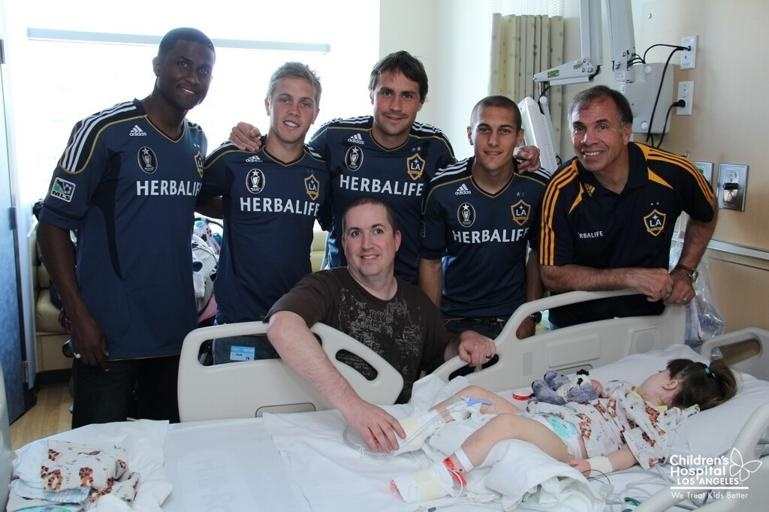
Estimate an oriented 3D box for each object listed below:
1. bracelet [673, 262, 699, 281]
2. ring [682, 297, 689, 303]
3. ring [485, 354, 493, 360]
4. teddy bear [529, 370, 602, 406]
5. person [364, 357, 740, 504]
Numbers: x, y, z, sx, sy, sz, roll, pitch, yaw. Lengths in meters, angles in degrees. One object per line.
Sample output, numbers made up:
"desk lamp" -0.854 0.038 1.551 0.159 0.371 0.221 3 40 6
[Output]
"bracelet" 1.509 0.078 2.828 0.102 0.057 0.088 36 19 27
"ring" 1.431 0.211 2.707 0.024 0.017 0.024 -1 4 0
"ring" 0.470 0.456 2.552 0.021 0.010 0.029 -8 -4 -12
"teddy bear" 0.773 0.572 2.461 0.202 0.098 0.149 -5 3 -9
"person" 0.713 0.673 2.287 1.323 0.440 0.555 -4 8 -5
